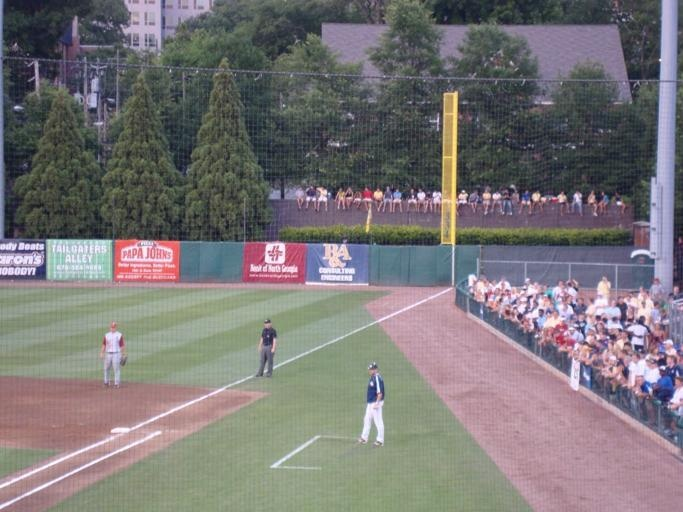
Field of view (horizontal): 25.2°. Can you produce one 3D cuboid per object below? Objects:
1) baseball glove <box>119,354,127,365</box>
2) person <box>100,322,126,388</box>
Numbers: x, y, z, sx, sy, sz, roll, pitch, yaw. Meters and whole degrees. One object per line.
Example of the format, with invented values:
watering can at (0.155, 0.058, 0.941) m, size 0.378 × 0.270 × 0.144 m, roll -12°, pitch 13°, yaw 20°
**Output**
baseball glove at (-11.641, 5.404, 80.905) m, size 0.384 × 0.738 × 0.388 m, roll 8°, pitch 10°, yaw 40°
person at (-12.173, 5.021, 80.992) m, size 1.065 × 3.678 × 1.007 m, roll 0°, pitch 19°, yaw -11°
